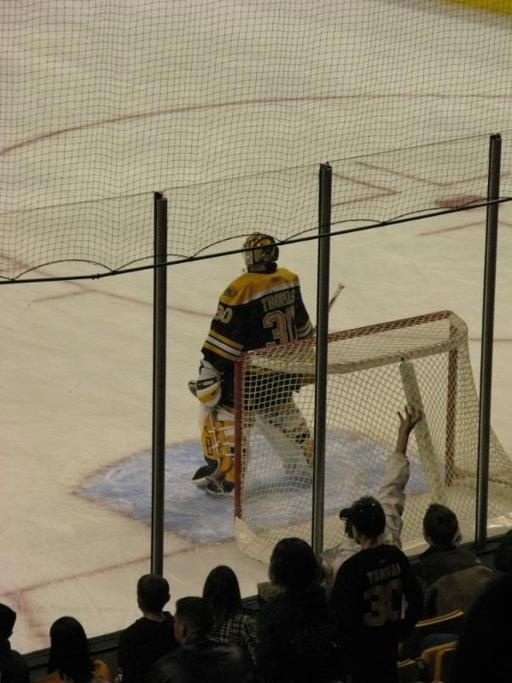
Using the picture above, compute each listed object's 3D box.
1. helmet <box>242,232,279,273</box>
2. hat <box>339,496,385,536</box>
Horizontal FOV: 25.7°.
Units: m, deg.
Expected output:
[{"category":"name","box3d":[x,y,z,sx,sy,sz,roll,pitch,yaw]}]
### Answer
[{"category":"helmet","box3d":[0.017,-0.345,4.449,0.147,0.168,0.174,1,22,-2]},{"category":"hat","box3d":[0.298,0.504,3.189,0.098,0.072,0.132,-10,37,-19]}]
